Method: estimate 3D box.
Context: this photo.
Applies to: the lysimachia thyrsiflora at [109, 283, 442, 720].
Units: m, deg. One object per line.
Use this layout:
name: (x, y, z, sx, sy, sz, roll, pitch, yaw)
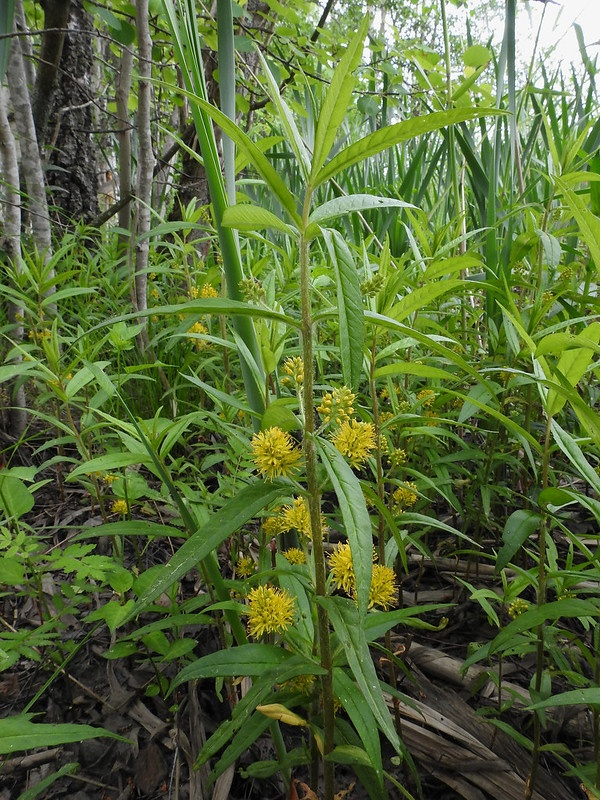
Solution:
lysimachia thyrsiflora: (-0.043, 0.189, 0.944, 0.405, 0.638, 0.258, 6, 20, 8)
